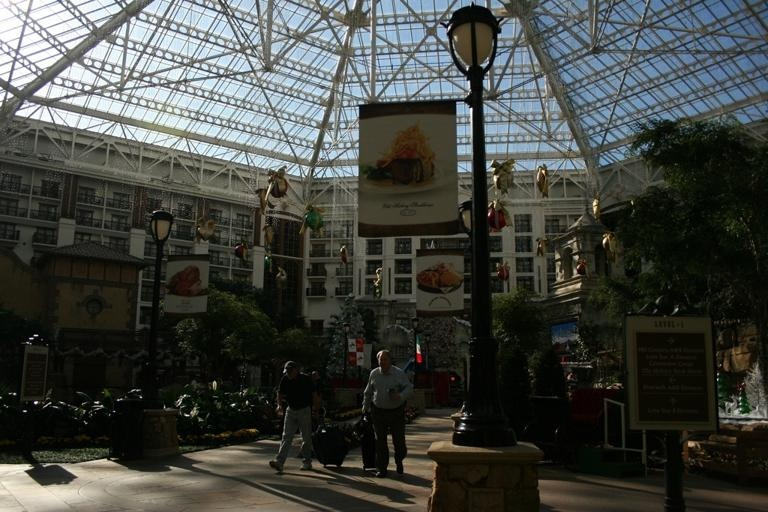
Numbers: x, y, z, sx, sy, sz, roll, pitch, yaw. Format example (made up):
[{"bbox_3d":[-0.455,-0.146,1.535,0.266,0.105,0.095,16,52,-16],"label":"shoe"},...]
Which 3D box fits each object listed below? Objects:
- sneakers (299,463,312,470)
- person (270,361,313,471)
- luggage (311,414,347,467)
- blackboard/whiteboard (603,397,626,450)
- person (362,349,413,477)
[{"bbox_3d":[-2.225,5.958,21.221,0.359,0.246,0.139,2,-10,6],"label":"sneakers"},{"bbox_3d":[-2.620,4.577,21.572,1.098,3.089,1.283,1,-12,-7],"label":"person"},{"bbox_3d":[-1.605,5.491,21.810,0.941,1.193,0.670,1,-12,-5],"label":"luggage"},{"bbox_3d":[6.705,4.810,21.666,0.616,1.393,1.882,-4,-12,17],"label":"blackboard/whiteboard"},{"bbox_3d":[0.110,4.361,21.055,1.293,3.459,1.024,0,-12,-1],"label":"person"}]
